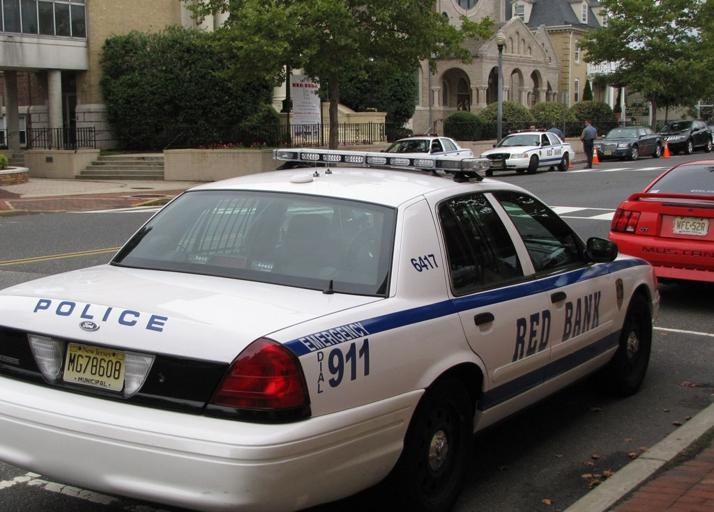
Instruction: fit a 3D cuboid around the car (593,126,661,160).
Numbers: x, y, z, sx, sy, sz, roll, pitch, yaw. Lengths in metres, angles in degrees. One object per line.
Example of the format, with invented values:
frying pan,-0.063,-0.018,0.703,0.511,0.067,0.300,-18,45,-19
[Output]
car,16.290,-6.729,39.281,1.947,1.541,4.427,6,10,39
